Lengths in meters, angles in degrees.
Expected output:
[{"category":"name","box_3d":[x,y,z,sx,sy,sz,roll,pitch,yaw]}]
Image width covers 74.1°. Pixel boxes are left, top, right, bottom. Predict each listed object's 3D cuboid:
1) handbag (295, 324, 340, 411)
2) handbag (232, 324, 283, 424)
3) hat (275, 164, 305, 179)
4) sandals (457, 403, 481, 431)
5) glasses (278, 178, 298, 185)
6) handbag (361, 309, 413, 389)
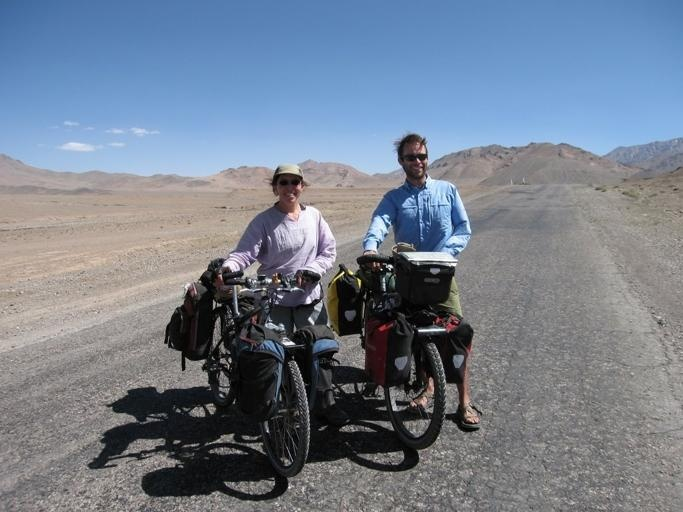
[{"category":"handbag","box_3d":[-0.212,0.966,3.934,0.363,0.692,0.330,-4,12,-9]},{"category":"handbag","box_3d":[-0.688,0.957,3.776,0.433,0.737,0.350,-3,12,-3]},{"category":"hat","box_3d":[-0.493,-0.776,4.205,0.280,0.126,0.197,-4,11,-10]},{"category":"sandals","box_3d":[1.248,1.544,4.356,0.233,0.210,0.199,2,12,19]},{"category":"glasses","box_3d":[-0.490,-0.684,4.219,0.190,0.059,0.049,-3,11,-7]},{"category":"handbag","box_3d":[0.417,0.826,4.067,0.478,0.628,0.347,2,13,21]}]
